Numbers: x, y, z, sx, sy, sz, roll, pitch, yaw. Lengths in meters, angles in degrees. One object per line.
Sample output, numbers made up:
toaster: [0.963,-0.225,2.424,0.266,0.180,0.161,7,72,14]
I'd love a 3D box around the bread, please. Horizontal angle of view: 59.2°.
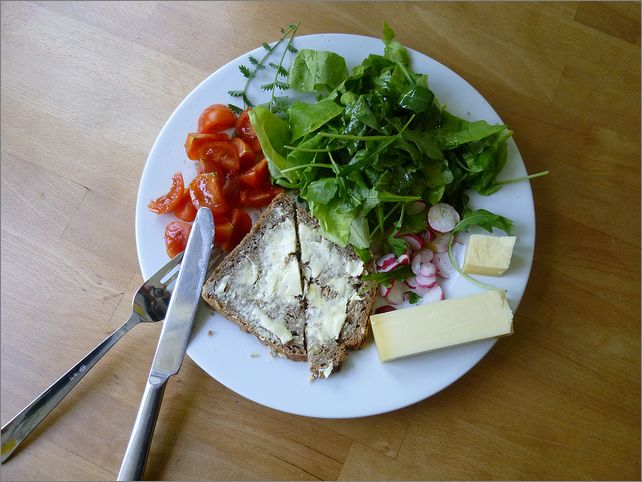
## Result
bread: [-0.107,0.156,2.067,0.572,0.153,0.635,34,78,-1]
